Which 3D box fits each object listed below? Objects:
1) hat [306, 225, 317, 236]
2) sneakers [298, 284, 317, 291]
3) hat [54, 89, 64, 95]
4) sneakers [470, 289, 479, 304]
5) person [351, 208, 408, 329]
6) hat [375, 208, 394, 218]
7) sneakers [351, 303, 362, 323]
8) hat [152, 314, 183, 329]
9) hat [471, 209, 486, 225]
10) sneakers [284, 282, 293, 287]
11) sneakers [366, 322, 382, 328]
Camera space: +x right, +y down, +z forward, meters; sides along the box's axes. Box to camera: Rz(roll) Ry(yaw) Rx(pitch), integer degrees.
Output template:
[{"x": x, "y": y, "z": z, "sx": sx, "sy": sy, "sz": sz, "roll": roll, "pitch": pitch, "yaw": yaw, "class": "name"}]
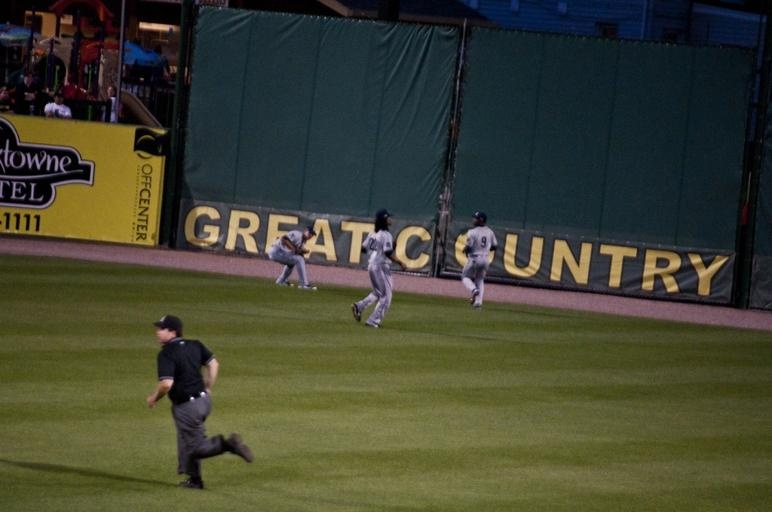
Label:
[{"x": -2.225, "y": -0.778, "z": 39.248, "sx": 0.321, "sy": 0.181, "sz": 0.484, "roll": 20, "pitch": 2, "yaw": -30, "class": "hat"}, {"x": -2.274, "y": 0.907, "z": 39.273, "sx": 0.595, "sy": 0.259, "sz": 0.203, "roll": -1, "pitch": 6, "yaw": -1, "class": "sneakers"}, {"x": -11.312, "y": -5.744, "z": 46.293, "sx": 0.462, "sy": 0.113, "sz": 0.483, "roll": -8, "pitch": 19, "yaw": -36, "class": "hat"}, {"x": 2.569, "y": 1.146, "z": 38.576, "sx": 0.174, "sy": 0.421, "sz": 0.185, "roll": 21, "pitch": -9, "yaw": -3, "class": "sneakers"}, {"x": -0.209, "y": 0.308, "z": 35.600, "sx": 1.027, "sy": 2.893, "sz": 0.633, "roll": 5, "pitch": 1, "yaw": 6, "class": "person"}, {"x": -0.044, "y": -1.282, "z": 38.931, "sx": 0.528, "sy": 0.274, "sz": 0.748, "roll": -1, "pitch": 1, "yaw": 0, "class": "hat"}, {"x": -0.749, "y": 1.479, "z": 35.584, "sx": 0.240, "sy": 0.543, "sz": 0.196, "roll": -15, "pitch": 13, "yaw": -10, "class": "sneakers"}, {"x": -4.567, "y": 1.393, "z": 28.076, "sx": 0.469, "sy": 0.241, "sz": 0.343, "roll": 5, "pitch": 0, "yaw": 0, "class": "hat"}, {"x": 2.743, "y": -1.100, "z": 38.694, "sx": 0.325, "sy": 0.371, "sz": 0.487, "roll": 5, "pitch": 1, "yaw": -2, "class": "hat"}, {"x": -2.864, "y": 0.830, "z": 39.599, "sx": 0.296, "sy": 0.119, "sz": 0.100, "roll": -1, "pitch": 8, "yaw": -22, "class": "sneakers"}, {"x": -0.304, "y": 1.809, "z": 35.404, "sx": 0.414, "sy": 0.183, "sz": 0.141, "roll": 4, "pitch": 0, "yaw": 12, "class": "sneakers"}]
